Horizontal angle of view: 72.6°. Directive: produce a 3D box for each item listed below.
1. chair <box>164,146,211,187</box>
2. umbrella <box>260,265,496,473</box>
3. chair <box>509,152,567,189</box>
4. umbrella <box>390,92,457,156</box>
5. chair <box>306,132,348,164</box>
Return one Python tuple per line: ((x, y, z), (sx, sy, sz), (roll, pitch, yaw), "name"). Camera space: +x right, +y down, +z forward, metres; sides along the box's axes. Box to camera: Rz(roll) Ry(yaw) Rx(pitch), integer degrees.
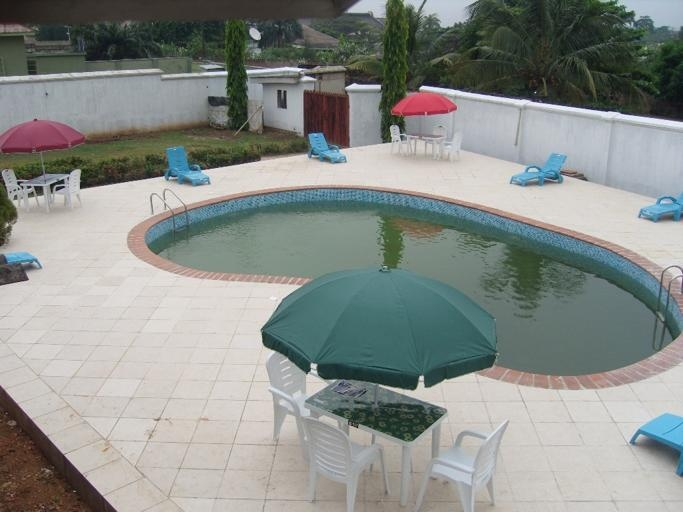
((-5.406, -3.148, 16.231), (1.970, 1.274, 1.140), (28, 37, 36), "chair")
((0.379, 1.290, 4.849), (1.844, 0.609, 1.825), (0, 16, 0), "umbrella")
((6.767, -2.873, 15.942), (1.879, 1.019, 1.138), (-8, 21, -16), "chair")
((3.332, -5.400, 18.913), (2.212, 1.836, 2.192), (-5, 30, 1), "umbrella")
((-0.730, -4.335, 19.214), (1.044, 0.854, 1.996), (-20, 43, -30), "chair")
